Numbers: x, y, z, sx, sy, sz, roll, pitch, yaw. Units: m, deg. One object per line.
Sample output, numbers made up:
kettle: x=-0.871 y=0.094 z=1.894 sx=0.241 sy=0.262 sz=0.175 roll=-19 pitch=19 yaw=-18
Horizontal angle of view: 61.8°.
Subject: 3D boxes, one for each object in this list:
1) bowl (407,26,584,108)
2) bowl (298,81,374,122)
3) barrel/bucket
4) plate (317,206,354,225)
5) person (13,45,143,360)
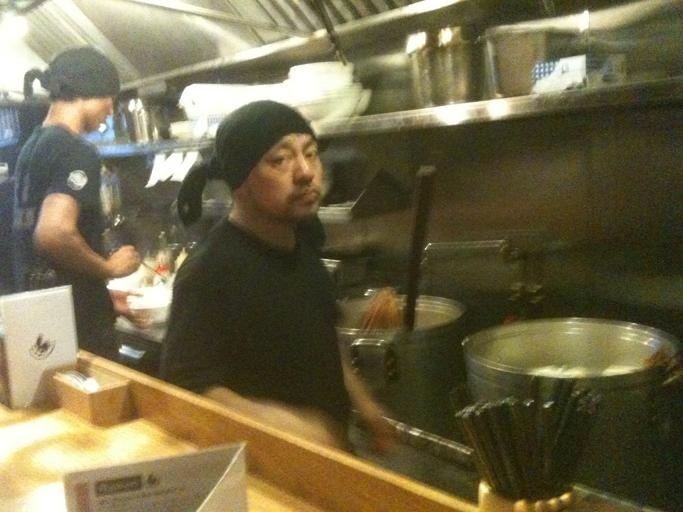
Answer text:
bowl: x=0.248 y=-0.368 z=1.085 sx=0.277 sy=0.147 sz=0.036 roll=1 pitch=12 yaw=30
bowl: x=-0.008 y=-0.333 z=1.246 sx=0.129 sy=0.070 sz=0.147 roll=-8 pitch=16 yaw=-37
barrel/bucket: x=0.229 y=-0.373 z=1.166 sx=0.186 sy=0.124 sz=0.150 roll=9 pitch=15 yaw=44
plate: x=-0.016 y=-0.092 z=1.275 sx=0.084 sy=0.039 sz=0.018 roll=3 pitch=13 yaw=40
person: x=-0.998 y=-0.153 z=2.297 sx=0.535 sy=1.214 sz=0.445 roll=18 pitch=15 yaw=10
